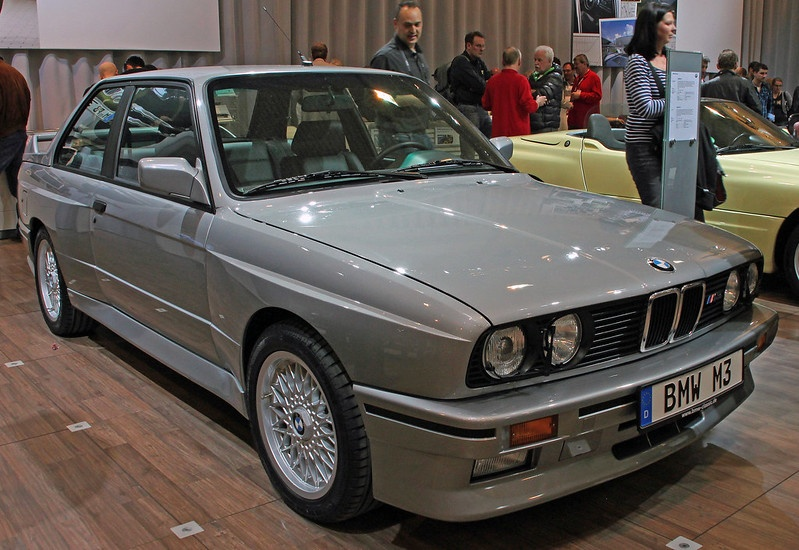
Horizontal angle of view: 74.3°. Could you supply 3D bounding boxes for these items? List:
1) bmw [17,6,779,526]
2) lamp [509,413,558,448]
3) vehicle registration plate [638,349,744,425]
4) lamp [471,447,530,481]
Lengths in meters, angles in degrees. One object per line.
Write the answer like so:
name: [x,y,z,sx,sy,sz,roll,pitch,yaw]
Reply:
bmw: [-0.186,-0.100,2.626,3.461,1.821,1.508,13,22,33]
lamp: [0.438,0.514,1.720,0.113,0.125,0.033,-15,63,2]
vehicle registration plate: [1.147,0.427,2.024,0.715,0.168,0.038,-11,21,-30]
lamp: [0.342,0.638,1.764,0.214,0.083,0.021,-5,18,-14]
